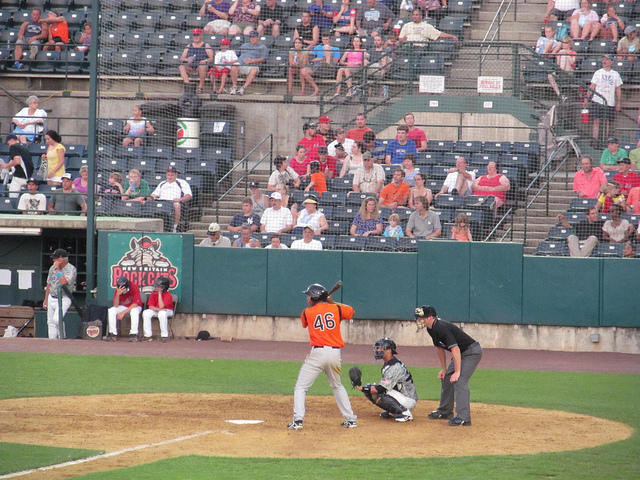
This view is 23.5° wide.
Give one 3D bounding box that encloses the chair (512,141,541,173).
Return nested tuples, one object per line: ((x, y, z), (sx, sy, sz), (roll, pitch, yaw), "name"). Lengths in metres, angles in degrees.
((5.347, -2.072, 40.239), (0.806, 0.806, 0.665), (5, -20, 1), "chair")

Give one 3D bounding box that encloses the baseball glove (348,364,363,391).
((0.688, 2.808, 31.262), (0.224, 0.432, 0.319), (0, -3, -2), "baseball glove")

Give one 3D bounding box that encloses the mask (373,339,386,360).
((1.162, 2.248, 31.361), (0.326, 0.426, 0.293), (6, -9, -10), "mask")

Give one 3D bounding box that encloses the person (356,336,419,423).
((1.355, 2.878, 31.425), (1.138, 1.715, 1.113), (2, 4, 14), "person")

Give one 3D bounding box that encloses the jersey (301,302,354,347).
((0.124, 1.713, 30.958), (1.112, 1.130, 0.565), (-1, 21, 11), "jersey")

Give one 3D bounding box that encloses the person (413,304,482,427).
((2.621, 2.581, 31.178), (1.216, 2.437, 0.619), (0, -2, 7), "person")

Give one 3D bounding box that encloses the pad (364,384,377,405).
((1.015, 3.178, 31.363), (0.240, 0.420, 0.393), (0, -3, -1), "pad")

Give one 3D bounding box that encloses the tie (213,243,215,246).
((-2.634, 0.118, 37.845), (0.068, 0.086, 0.085), (0, -7, 14), "tie")

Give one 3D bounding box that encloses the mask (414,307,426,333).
((2.015, 1.618, 31.121), (0.202, 0.447, 0.224), (0, -3, 4), "mask")

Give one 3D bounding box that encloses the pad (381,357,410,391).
((1.463, 2.761, 31.537), (0.652, 0.691, 0.461), (16, -8, 18), "pad")

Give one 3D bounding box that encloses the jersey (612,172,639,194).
((7.623, -1.447, 38.413), (0.716, 0.598, 0.384), (1, -3, 22), "jersey")

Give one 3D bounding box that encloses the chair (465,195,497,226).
((3.938, -0.834, 38.233), (0.843, 0.887, 0.753), (-5, 25, -1), "chair")

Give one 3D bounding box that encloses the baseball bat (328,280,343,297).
((0.322, 1.131, 35.333), (0.548, 0.095, 0.082), (-41, 2, 17), "baseball bat")

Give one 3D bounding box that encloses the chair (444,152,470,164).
((3.524, -2.126, 39.899), (0.650, 0.372, 0.727), (0, -3, 4), "chair")

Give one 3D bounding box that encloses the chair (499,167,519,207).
((4.742, -1.335, 38.663), (0.458, 1.083, 1.047), (0, -3, 7), "chair")

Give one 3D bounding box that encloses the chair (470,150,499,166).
((4.236, -2.145, 39.872), (0.743, 0.475, 0.786), (0, -3, 8), "chair")

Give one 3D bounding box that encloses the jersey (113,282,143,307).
((-4.672, 1.341, 37.447), (0.705, 0.794, 0.482), (6, 27, 6), "jersey")

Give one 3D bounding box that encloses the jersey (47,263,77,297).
((-6.315, 1.001, 37.519), (0.680, 0.827, 0.648), (1, -3, -11), "jersey")

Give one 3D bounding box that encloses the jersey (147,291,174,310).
((-3.878, 1.454, 37.182), (0.570, 0.600, 0.410), (4, 6, 12), "jersey")
